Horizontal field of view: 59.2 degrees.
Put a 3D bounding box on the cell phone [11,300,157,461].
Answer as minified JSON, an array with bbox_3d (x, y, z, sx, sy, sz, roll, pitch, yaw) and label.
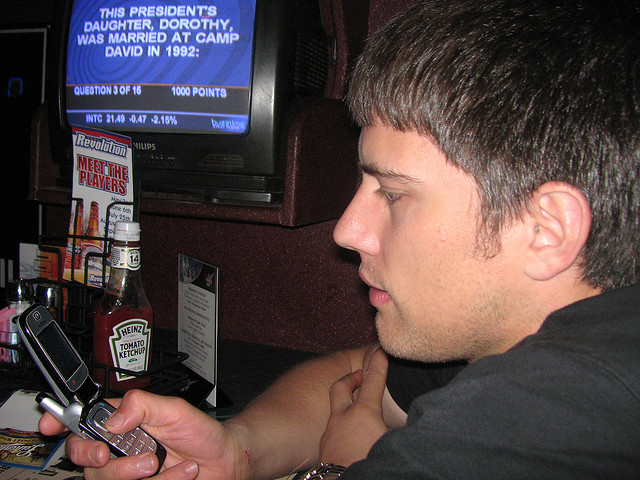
[{"bbox_3d":[-0.363,0.244,0.865,0.092,0.300,0.104,-42,13,-25],"label":"cell phone"}]

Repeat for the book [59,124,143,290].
[{"bbox_3d":[-0.446,-0.061,1.141,0.173,0.343,0.014,8,4,27],"label":"book"}]
